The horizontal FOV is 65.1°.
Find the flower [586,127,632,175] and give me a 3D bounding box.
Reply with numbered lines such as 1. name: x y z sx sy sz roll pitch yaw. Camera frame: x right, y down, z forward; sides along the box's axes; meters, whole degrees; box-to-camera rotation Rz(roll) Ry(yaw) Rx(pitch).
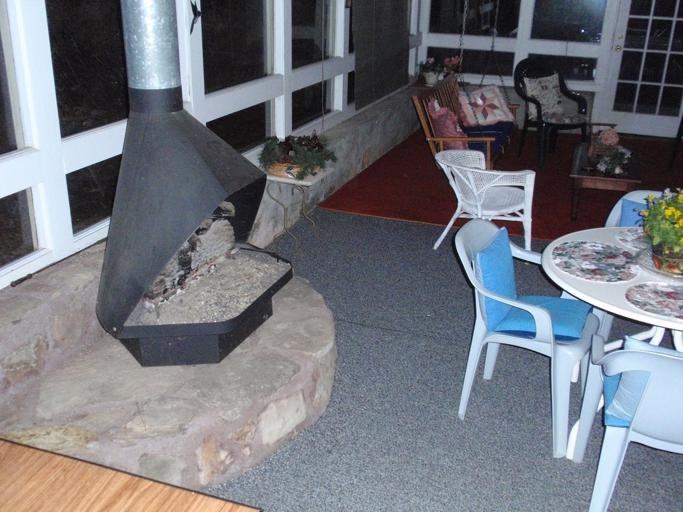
1. flower: 2.580 -0.968 5.133 0.354 0.238 0.596 1 61 15

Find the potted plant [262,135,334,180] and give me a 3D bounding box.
1. potted plant: -0.344 -0.752 4.032 0.430 0.213 0.409 13 28 31

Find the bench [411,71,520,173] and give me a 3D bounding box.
1. bench: 1.408 -1.542 6.176 0.816 0.978 1.970 1 42 23

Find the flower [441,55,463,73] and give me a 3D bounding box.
1. flower: 1.466 -2.547 7.107 0.200 0.246 0.521 6 26 5

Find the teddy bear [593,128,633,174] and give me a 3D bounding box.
1. teddy bear: 2.612 -0.973 5.144 0.327 0.538 0.211 -3 -5 14
